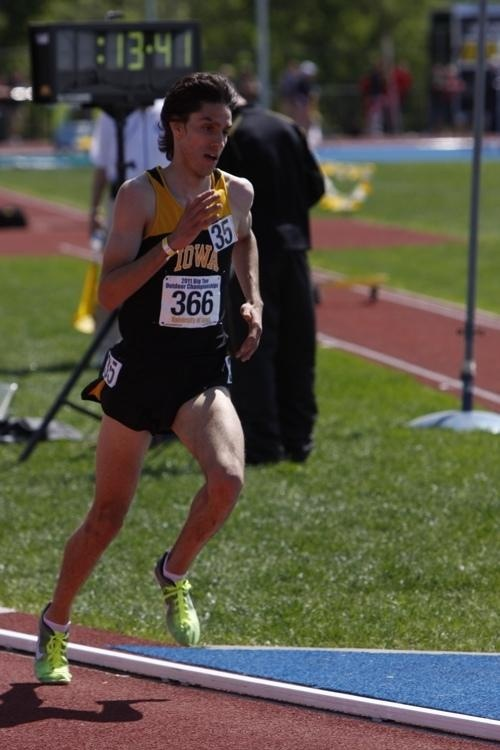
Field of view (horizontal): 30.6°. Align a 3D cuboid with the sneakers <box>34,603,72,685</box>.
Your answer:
[{"bbox_3d":[-0.493,0.697,2.273,0.083,0.134,0.215,6,2,-10],"label":"sneakers"}]

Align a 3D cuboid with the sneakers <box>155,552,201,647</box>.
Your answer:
[{"bbox_3d":[-0.226,0.583,2.312,0.100,0.257,0.110,-18,-9,-15],"label":"sneakers"}]

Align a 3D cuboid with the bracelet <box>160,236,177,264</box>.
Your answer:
[{"bbox_3d":[-0.176,-0.273,1.950,0.030,0.045,0.062,-5,8,-11],"label":"bracelet"}]

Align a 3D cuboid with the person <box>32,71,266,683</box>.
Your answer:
[{"bbox_3d":[-0.280,0.050,2.219,0.629,1.508,0.517,-4,9,2],"label":"person"}]
